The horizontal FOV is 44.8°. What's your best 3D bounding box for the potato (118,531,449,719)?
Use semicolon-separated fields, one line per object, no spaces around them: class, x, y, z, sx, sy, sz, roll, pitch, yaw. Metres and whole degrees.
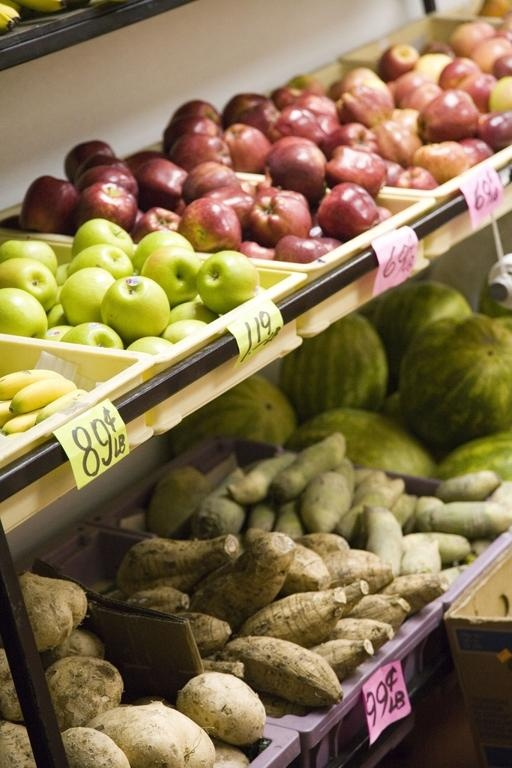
potato;0.036;0.353;0.898;0.300;0.093;0.306;12;20;36
